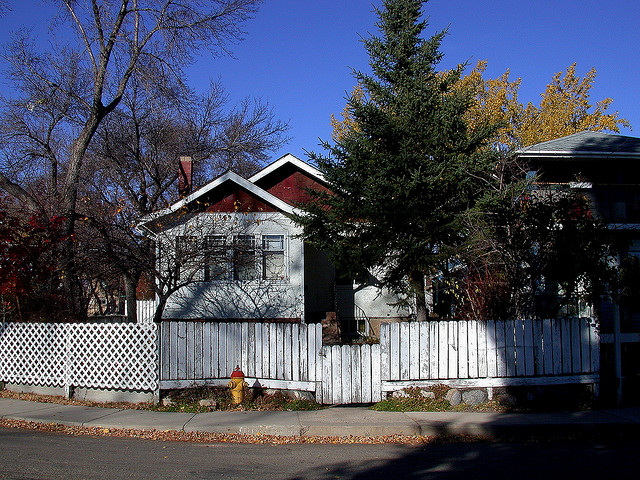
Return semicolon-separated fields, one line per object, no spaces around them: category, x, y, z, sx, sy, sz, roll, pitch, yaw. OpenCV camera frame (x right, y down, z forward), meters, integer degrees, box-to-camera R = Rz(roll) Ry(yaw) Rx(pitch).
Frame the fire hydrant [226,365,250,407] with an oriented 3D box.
fire hydrant;-2.244;3.926;20.088;0.416;0.973;0.495;-2;8;-8
